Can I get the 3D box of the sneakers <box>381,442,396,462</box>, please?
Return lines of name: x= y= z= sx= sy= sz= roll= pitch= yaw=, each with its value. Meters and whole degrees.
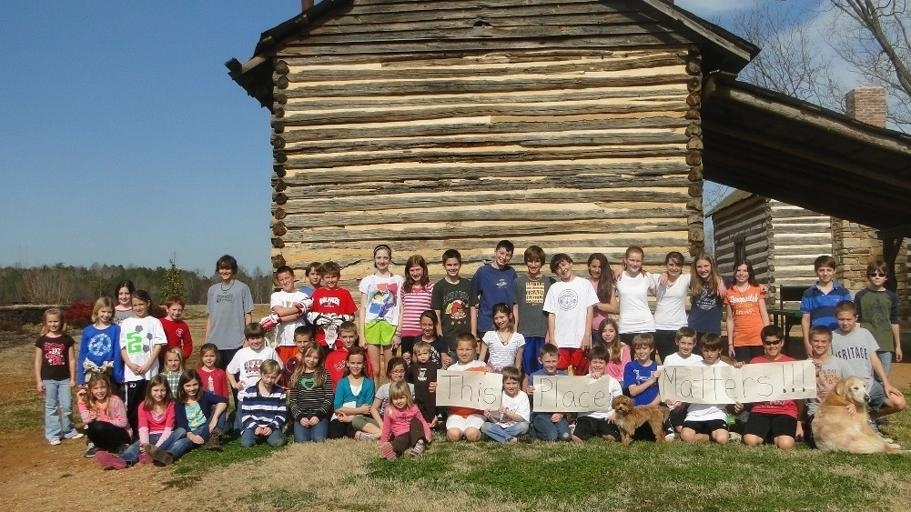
sneakers: x=-1.155 y=3.374 z=14.323 sx=0.240 sy=0.296 sz=0.110 roll=-16 pitch=2 yaw=-9

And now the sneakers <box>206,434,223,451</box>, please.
sneakers: x=-4.353 y=3.325 z=14.905 sx=0.276 sy=0.293 sz=0.207 roll=1 pitch=-7 yaw=-18

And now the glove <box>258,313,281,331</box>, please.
glove: x=-3.597 y=1.285 z=16.100 sx=0.455 sy=0.280 sz=0.169 roll=-32 pitch=-35 yaw=-27

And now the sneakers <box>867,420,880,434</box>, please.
sneakers: x=7.420 y=3.011 z=14.647 sx=0.122 sy=0.291 sz=0.207 roll=-27 pitch=5 yaw=11

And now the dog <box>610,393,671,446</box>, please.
dog: x=3.283 y=2.961 z=14.832 sx=1.376 sy=0.881 sz=0.447 roll=6 pitch=-5 yaw=-29

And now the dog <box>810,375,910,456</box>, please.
dog: x=6.961 y=2.851 z=14.852 sx=1.808 sy=1.287 sz=1.037 roll=-2 pitch=-3 yaw=4
